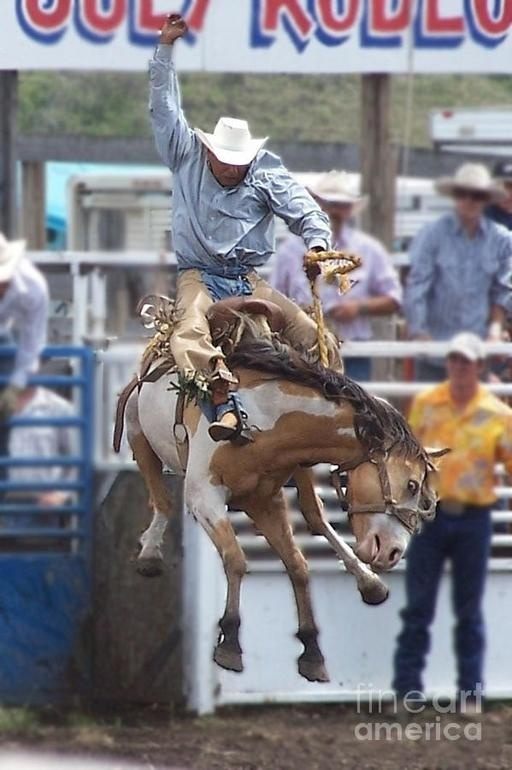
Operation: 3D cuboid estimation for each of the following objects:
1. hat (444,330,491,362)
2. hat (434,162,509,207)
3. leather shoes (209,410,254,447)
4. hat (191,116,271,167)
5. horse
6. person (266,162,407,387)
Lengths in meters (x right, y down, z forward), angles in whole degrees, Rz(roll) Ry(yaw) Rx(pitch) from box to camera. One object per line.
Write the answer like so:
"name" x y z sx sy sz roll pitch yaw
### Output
"hat" 0.856 -0.154 6.534 0.151 0.117 0.114 2 5 20
"hat" 0.881 -0.835 6.552 0.270 0.149 0.067 1 5 7
"leather shoes" -0.095 0.162 5.347 0.097 0.065 0.202 -48 3 -25
"hat" -0.098 -0.846 5.565 0.250 0.171 0.228 0 5 2
"horse" -0.083 0.372 5.856 0.477 1.159 1.804 -2 15 -32
"person" 0.269 -0.482 6.852 0.334 1.184 0.621 -1 -3 -21
